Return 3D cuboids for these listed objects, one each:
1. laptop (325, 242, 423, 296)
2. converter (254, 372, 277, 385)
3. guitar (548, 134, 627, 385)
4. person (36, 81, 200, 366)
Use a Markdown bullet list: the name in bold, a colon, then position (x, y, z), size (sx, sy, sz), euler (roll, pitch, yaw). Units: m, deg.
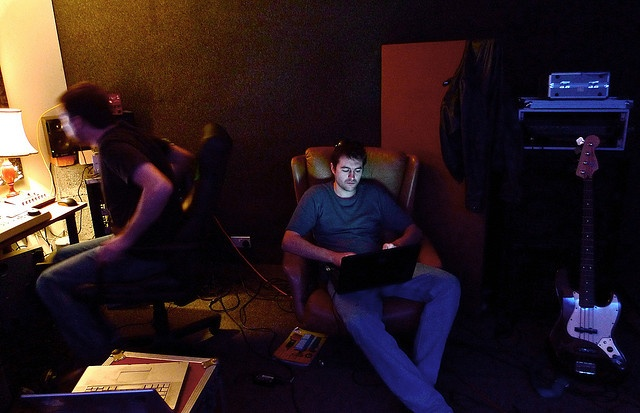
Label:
- **laptop**: position (0.376, 0.404, 3.232), size (0.516, 0.324, 0.351), euler (-7, 39, -13)
- **converter**: position (-0.373, 1.179, 3.413), size (0.105, 0.023, 0.074), euler (5, 11, 4)
- **guitar**: position (1.831, 0.363, 3.384), size (0.450, 1.470, 0.641), euler (1, 21, 9)
- **person**: position (-1.401, 0.122, 3.301), size (0.967, 1.752, 0.548), euler (-8, 21, -13)
